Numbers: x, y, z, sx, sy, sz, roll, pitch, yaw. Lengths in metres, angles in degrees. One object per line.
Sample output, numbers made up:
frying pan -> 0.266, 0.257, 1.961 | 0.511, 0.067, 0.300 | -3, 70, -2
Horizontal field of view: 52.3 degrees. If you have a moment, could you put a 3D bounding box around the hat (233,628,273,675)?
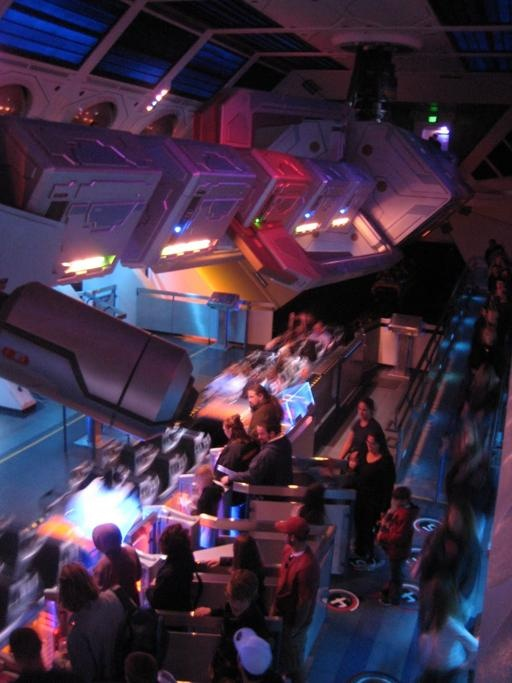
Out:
hat -> -0.030, 1.461, 2.449 | 0.126, 0.149, 0.200 | 2, -5, -35

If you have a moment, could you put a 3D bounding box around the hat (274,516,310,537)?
hat -> 0.217, 1.204, 3.371 | 0.220, 0.101, 0.135 | 4, 17, 23
